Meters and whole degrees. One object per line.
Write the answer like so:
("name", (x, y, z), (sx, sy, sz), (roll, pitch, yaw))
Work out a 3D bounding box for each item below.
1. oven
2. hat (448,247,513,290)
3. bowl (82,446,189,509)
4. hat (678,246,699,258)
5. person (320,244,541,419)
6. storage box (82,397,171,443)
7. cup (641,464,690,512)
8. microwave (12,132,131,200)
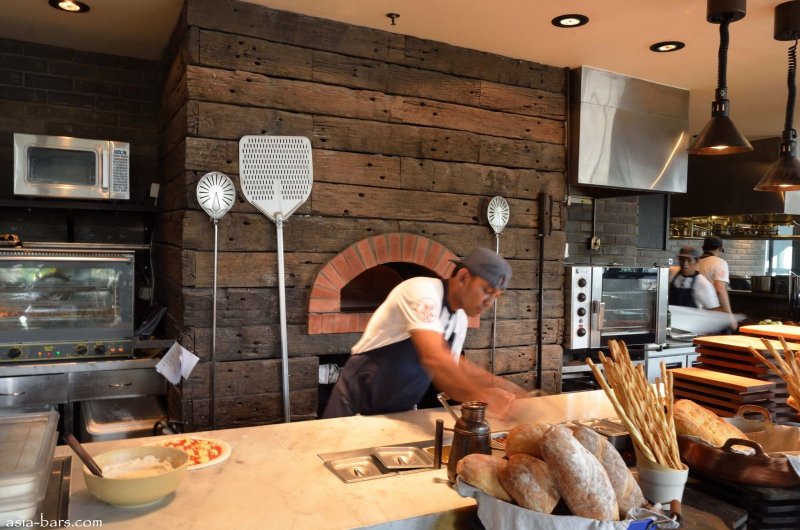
("oven", (1.717, 0.346, 4.975), (1.346, 0.693, 0.737), (0, -1, -27))
("hat", (0.442, 0.010, 3.022), (0.274, 0.133, 0.202), (34, 15, 31))
("bowl", (-0.942, 0.752, 2.023), (0.271, 0.089, 0.244), (1, 0, -23))
("hat", (2.883, -0.128, 5.621), (0.175, 0.109, 0.163), (7, 13, 23))
("person", (0.205, 0.398, 3.018), (1.011, 0.981, 0.689), (12, 17, 38))
("storage box", (-1.874, 1.041, 3.827), (0.531, 0.238, 0.327), (-4, 13, -24))
("cup", (0.942, 0.788, 2.025), (0.169, 0.144, 0.151), (0, -2, 3))
("microwave", (-2.230, -0.650, 3.831), (0.870, 0.442, 0.489), (1, -2, -25))
